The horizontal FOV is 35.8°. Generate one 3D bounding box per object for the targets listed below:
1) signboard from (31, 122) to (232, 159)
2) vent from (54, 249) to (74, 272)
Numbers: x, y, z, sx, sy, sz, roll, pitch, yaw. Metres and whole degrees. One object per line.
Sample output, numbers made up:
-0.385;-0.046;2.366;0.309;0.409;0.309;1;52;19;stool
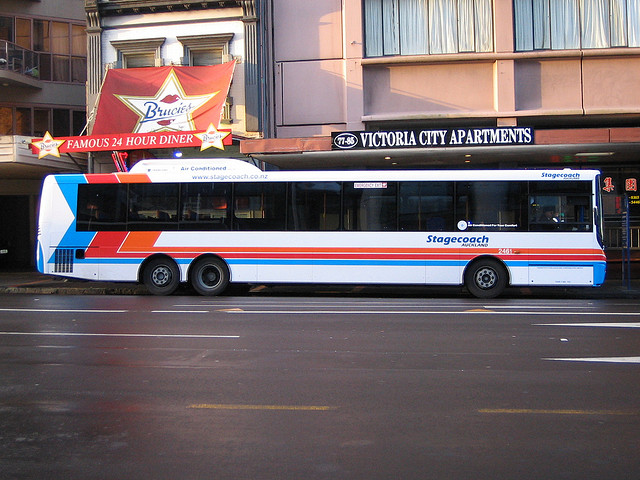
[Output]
-6.187;-3.325;32.933;6.650;1.051;0.793;1;15;6;signboard
-7.449;0.594;28.972;0.595;0.649;0.612;3;0;26;vent
